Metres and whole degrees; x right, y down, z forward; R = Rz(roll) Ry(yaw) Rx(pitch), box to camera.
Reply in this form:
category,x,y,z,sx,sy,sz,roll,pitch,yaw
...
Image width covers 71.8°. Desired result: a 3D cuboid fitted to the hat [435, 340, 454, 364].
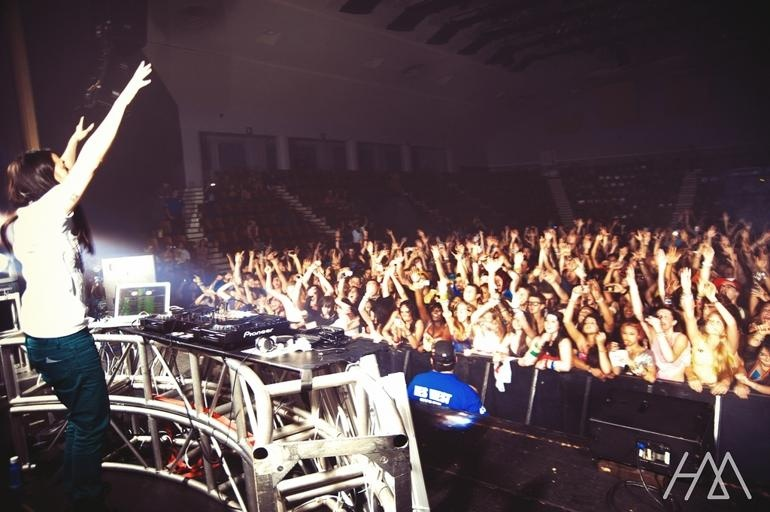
category,x,y,z,sx,sy,sz,roll,pitch,yaw
hat,0.589,0.938,5.220,0.170,0.232,0.231,1,12,4

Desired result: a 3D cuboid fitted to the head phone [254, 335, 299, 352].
category,x,y,z,sx,sy,sz,roll,pitch,yaw
head phone,-0.997,0.819,4.952,0.363,0.103,0.172,1,0,-14

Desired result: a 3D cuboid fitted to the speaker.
category,x,y,z,sx,sy,sz,roll,pitch,yaw
speaker,2.766,1.796,5.445,0.795,0.603,1.071,-30,24,-37

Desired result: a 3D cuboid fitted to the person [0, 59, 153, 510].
category,x,y,z,sx,sy,sz,roll,pitch,yaw
person,-3.071,0.347,5.131,0.908,3.911,1.332,1,0,-35

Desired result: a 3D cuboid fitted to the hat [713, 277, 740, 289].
category,x,y,z,sx,sy,sz,roll,pitch,yaw
hat,3.766,0.298,5.843,0.174,0.086,0.114,30,-6,39

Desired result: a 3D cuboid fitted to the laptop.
category,x,y,z,sx,sy,sz,roll,pitch,yaw
laptop,-2.703,0.502,5.588,0.719,0.444,0.526,-1,-4,11
